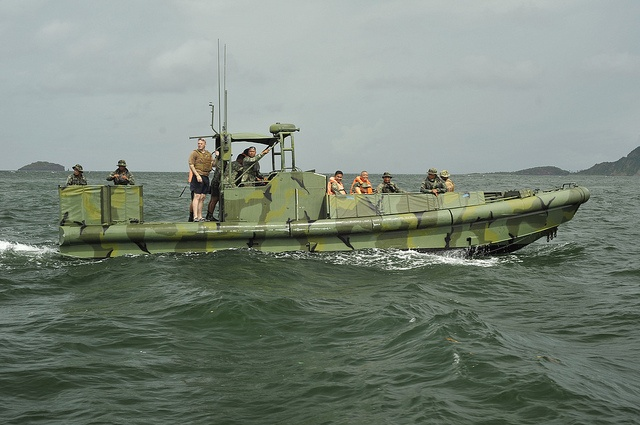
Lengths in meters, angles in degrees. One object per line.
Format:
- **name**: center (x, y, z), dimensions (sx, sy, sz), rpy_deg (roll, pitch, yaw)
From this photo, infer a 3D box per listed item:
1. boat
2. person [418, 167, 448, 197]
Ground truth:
- **boat**: center (1.715, -1.299, 22.406), dimensions (17.827, 7.459, 4.870), rpy_deg (-1, 3, -6)
- **person**: center (3.153, -0.616, 20.005), dimensions (0.764, 1.210, 0.670), rpy_deg (-5, 8, -9)
